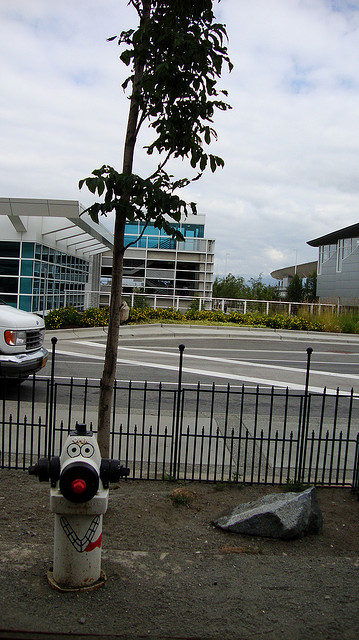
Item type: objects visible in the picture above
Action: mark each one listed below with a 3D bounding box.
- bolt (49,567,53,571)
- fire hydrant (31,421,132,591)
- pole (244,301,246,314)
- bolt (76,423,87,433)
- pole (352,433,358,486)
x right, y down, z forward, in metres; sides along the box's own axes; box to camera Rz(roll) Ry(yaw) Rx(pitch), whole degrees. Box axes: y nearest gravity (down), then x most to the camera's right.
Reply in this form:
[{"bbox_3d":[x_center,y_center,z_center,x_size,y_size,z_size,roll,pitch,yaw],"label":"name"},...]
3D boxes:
[{"bbox_3d":[-0.803,1.551,3.425,0.017,0.008,0.020,1,-1,14],"label":"bolt"},{"bbox_3d":[-0.589,1.100,3.276,0.563,0.965,0.318,3,3,-15],"label":"fire hydrant"},{"bbox_3d":[3.519,-0.681,29.572,0.092,0.537,0.294,3,3,6],"label":"pole"},{"bbox_3d":[-0.591,0.646,3.294,0.062,0.074,0.067,-2,11,-11],"label":"bolt"},{"bbox_3d":[1.747,1.395,5.457,0.034,0.583,0.400,4,3,18],"label":"pole"}]
